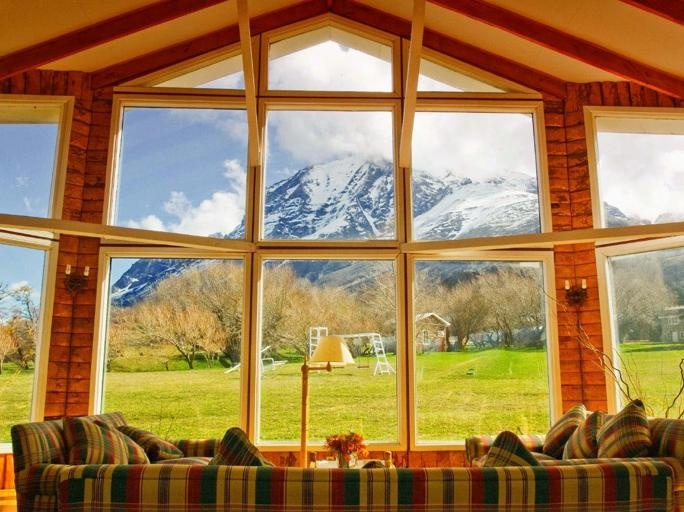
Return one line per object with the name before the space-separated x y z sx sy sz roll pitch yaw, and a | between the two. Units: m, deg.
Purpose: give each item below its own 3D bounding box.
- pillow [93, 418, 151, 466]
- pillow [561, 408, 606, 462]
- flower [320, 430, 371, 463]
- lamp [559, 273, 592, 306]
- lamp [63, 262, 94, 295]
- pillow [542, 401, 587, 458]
pillow | -1.783 1.480 5.411 0.135 0.428 0.443 -37 -21 -14
pillow | 2.164 1.628 5.762 0.164 0.321 0.476 10 -15 5
flower | 0.029 1.782 6.061 0.332 0.343 0.352 0 -8 -1
lamp | 2.934 0.436 8.037 0.388 0.574 0.113 0 -20 25
lamp | -3.295 0.296 7.975 0.354 0.467 0.091 7 -20 -35
pillow | 2.103 1.699 6.321 0.186 0.442 0.445 27 20 15
